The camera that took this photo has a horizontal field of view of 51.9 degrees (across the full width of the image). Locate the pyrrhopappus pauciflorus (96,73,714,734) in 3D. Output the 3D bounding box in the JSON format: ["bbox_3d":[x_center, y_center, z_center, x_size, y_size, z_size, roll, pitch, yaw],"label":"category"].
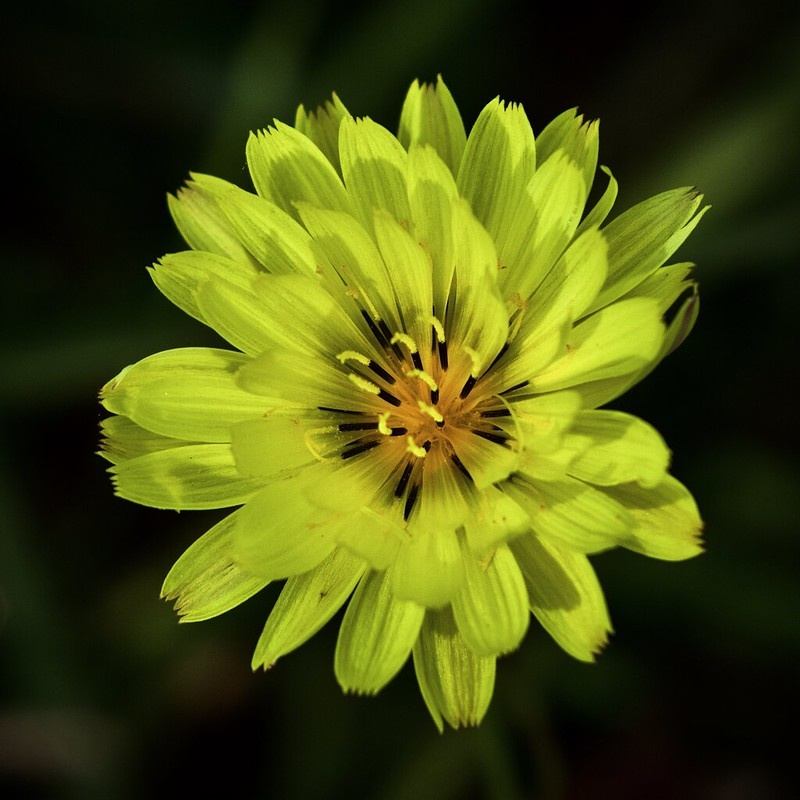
[{"bbox_3d":[0.007,-0.047,1.753,1.266,0.651,1.277,20,-80,-3],"label":"pyrrhopappus pauciflorus"}]
